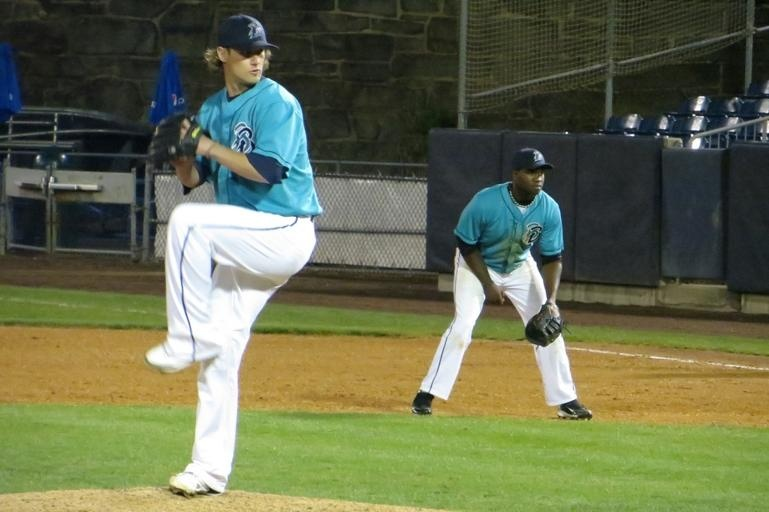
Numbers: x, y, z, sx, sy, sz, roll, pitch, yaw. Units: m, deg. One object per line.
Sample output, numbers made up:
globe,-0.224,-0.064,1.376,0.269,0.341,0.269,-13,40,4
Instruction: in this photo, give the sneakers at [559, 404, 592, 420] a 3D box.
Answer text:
sneakers,2.680,2.169,21.943,0.422,0.173,0.205,-1,0,9

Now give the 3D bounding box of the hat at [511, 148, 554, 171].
hat,2.078,-1.343,21.820,0.476,0.249,0.343,-3,4,31

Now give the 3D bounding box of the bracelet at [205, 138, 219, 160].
bracelet,-2.191,-1.366,19.789,0.085,0.284,0.301,16,29,-14

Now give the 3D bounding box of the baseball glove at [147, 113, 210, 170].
baseball glove,-2.658,-1.517,19.959,0.677,0.631,0.428,3,4,-9

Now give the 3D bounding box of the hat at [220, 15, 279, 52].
hat,-1.772,-2.864,20.006,0.662,0.325,0.426,4,17,19
